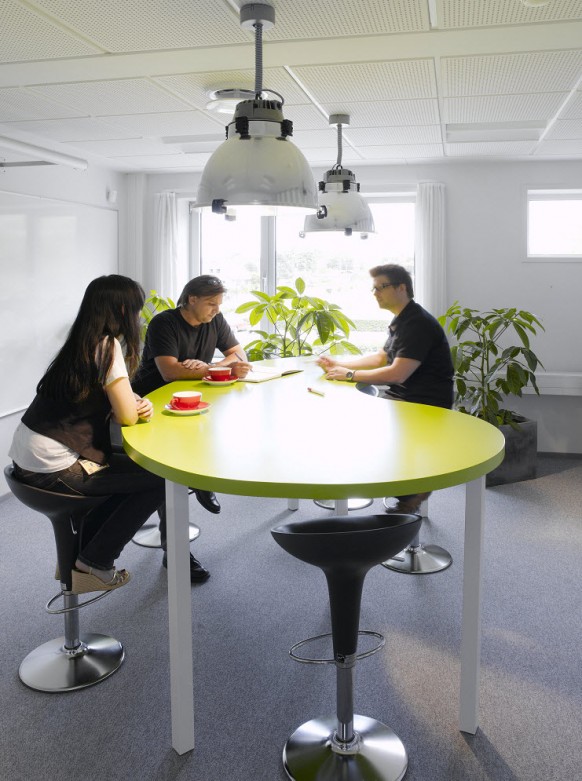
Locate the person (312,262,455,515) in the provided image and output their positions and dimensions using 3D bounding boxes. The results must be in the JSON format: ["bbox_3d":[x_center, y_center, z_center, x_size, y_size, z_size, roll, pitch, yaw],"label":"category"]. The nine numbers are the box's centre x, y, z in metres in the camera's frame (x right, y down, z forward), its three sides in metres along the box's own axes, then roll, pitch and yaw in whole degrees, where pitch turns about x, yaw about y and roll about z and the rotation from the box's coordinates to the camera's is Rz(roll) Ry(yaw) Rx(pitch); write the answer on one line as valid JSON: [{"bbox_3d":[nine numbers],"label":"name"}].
[{"bbox_3d":[0.549,-0.025,3.348,0.725,1.231,0.526,-5,2,6],"label":"person"}]

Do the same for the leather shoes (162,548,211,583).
[{"bbox_3d":[-0.520,0.817,3.020,0.118,0.147,0.357,-1,2,-43],"label":"leather shoes"}]

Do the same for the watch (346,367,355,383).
[{"bbox_3d":[0.282,-0.069,3.061,0.038,0.058,0.055,2,-9,1],"label":"watch"}]

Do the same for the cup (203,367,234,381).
[{"bbox_3d":[-0.329,-0.076,2.940,0.080,0.051,0.078,2,5,0],"label":"cup"}]

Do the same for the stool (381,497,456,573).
[{"bbox_3d":[0.630,0.696,3.168,0.381,0.356,0.335,-5,6,-42],"label":"stool"}]

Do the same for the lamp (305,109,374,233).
[{"bbox_3d":[0.269,-1.173,3.376,0.399,0.561,0.420,-3,21,-6],"label":"lamp"}]

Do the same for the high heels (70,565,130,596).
[{"bbox_3d":[-0.646,0.633,2.139,0.183,0.068,0.092,-3,11,-18],"label":"high heels"}]
